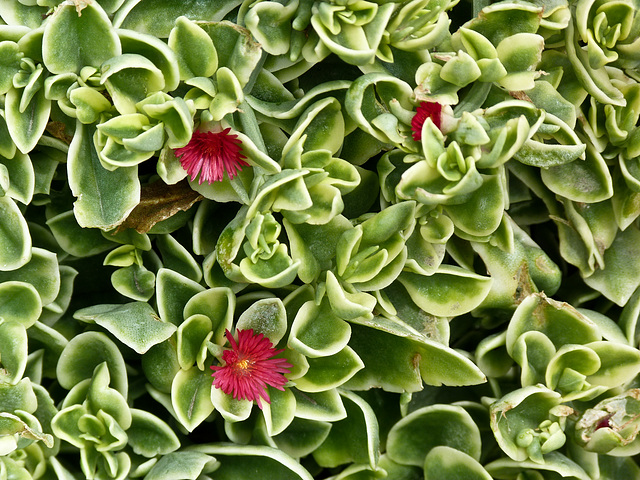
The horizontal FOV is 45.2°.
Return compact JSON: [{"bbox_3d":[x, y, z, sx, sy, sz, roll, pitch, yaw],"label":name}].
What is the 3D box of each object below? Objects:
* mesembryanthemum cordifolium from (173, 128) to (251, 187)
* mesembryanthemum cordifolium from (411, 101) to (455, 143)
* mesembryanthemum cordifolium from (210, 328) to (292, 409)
[{"bbox_3d":[-0.099,-0.077,0.710,0.049,0.057,0.026,-9,26,2],"label":"mesembryanthemum cordifolium"},{"bbox_3d":[0.104,-0.121,0.741,0.033,0.012,0.030,-21,-17,36],"label":"mesembryanthemum cordifolium"},{"bbox_3d":[-0.062,0.113,0.749,0.067,0.077,0.027,15,1,-11],"label":"mesembryanthemum cordifolium"}]
